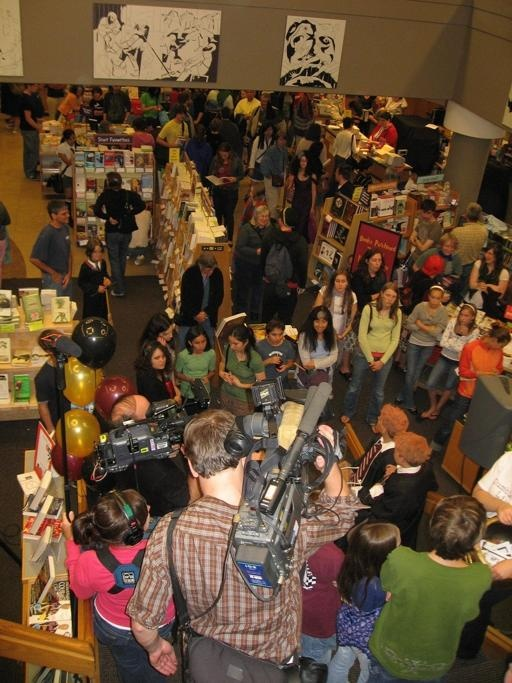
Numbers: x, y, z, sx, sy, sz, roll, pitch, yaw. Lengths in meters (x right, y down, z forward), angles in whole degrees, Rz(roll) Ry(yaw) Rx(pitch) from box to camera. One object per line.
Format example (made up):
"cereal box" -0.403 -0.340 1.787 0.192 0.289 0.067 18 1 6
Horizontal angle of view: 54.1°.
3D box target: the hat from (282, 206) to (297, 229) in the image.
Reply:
"hat" 0.467 -1.708 6.974 0.217 0.280 0.276 11 19 2

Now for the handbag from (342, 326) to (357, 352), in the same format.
"handbag" 1.256 -0.032 6.657 0.070 0.288 0.216 21 7 -31

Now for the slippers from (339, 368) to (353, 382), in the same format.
"slippers" 1.260 0.471 6.956 0.082 0.082 0.226 -12 67 -6

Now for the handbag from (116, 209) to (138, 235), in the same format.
"handbag" -2.009 -1.871 7.764 0.309 0.376 0.216 -26 67 -39

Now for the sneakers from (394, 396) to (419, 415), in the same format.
"sneakers" 1.944 0.827 6.453 0.117 0.150 0.362 -39 63 -11

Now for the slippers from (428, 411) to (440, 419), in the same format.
"slippers" 2.262 0.923 6.337 0.076 0.139 0.055 60 17 17
